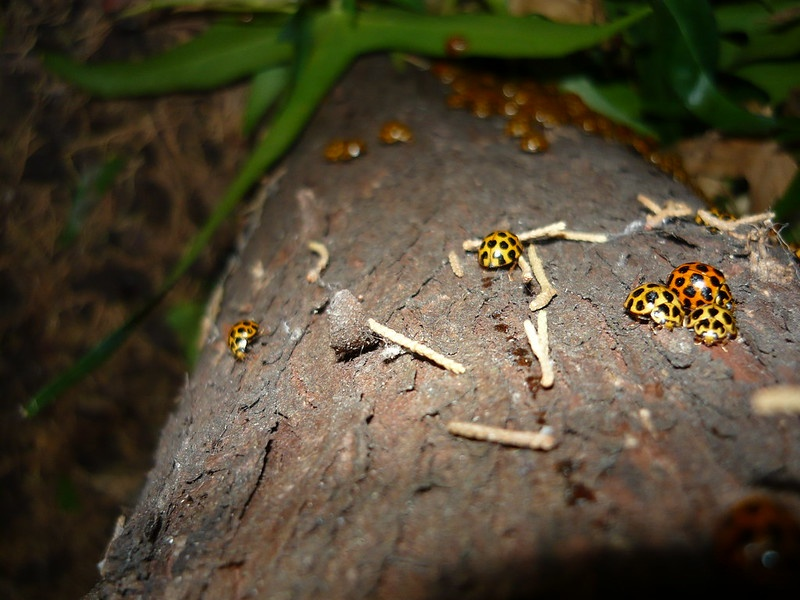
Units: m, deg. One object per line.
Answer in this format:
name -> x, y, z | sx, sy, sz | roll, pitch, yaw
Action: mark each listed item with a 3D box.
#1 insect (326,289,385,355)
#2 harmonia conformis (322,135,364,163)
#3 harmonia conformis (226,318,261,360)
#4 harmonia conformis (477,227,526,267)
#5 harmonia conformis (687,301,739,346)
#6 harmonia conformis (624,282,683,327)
insect -> -0.230, 0.086, 3.226 | 0.194, 0.100, 0.276 | -8, 88, -5
harmonia conformis -> -0.280, -0.728, 3.649 | 0.165, 0.058, 0.110 | 0, 74, 12
harmonia conformis -> -0.761, 0.152, 3.611 | 0.178, 0.093, 0.249 | -10, 36, 5
harmonia conformis -> 0.434, -0.256, 3.412 | 0.216, 0.121, 0.288 | 7, 25, 39
harmonia conformis -> 1.362, 0.077, 3.320 | 0.247, 0.099, 0.275 | 10, 37, 27
harmonia conformis -> 1.096, 0.035, 3.285 | 0.247, 0.176, 0.117 | -1, 50, 19
